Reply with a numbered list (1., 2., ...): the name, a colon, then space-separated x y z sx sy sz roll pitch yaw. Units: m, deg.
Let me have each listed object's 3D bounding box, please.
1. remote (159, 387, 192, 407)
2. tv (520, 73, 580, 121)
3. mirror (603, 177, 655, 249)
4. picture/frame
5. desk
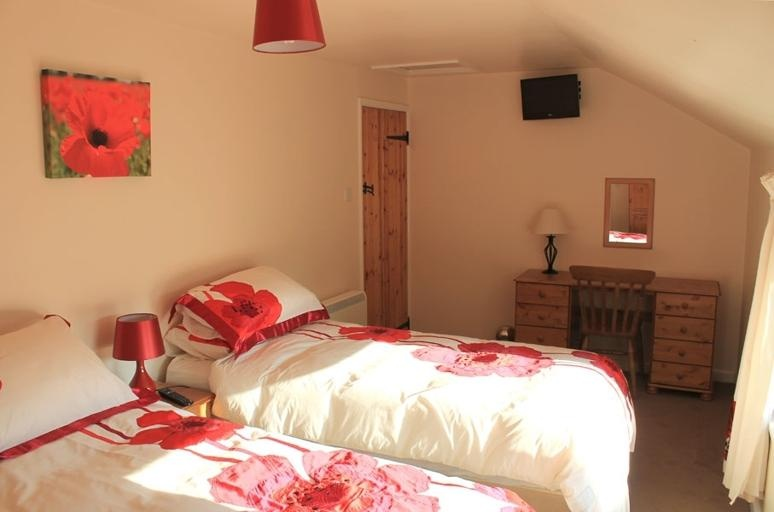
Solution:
1. remote: -1.246 0.813 3.328 0.175 0.037 0.097 18 7 30
2. tv: 1.529 -1.469 5.223 0.487 0.338 0.068 0 7 30
3. mirror: 2.226 -0.396 5.183 0.425 0.626 0.151 5 13 15
4. picture/frame: -1.730 -0.773 3.281 0.093 0.567 0.690 12 15 36
5. desk: 2.031 0.694 5.134 1.684 0.907 0.584 3 10 27
